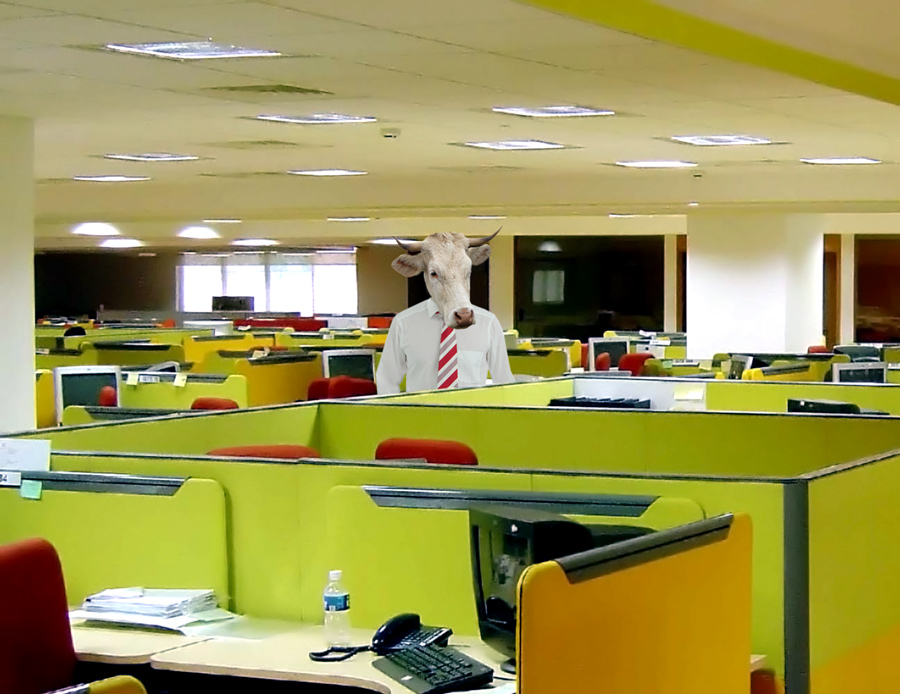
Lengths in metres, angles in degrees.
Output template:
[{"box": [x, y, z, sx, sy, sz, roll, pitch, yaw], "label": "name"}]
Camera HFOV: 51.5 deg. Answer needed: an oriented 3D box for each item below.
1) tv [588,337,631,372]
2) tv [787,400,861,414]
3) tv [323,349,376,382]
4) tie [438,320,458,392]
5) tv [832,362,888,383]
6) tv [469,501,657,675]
[{"box": [1.978, 0.100, 11.725, 0.471, 0.375, 1.178, 1, 4, 8], "label": "tv"}, {"box": [1.850, 0.299, 4.606, 0.206, 0.071, 0.388, 0, 4, -8], "label": "tv"}, {"box": [-0.847, 0.146, 7.945, 0.566, 0.242, 0.381, -2, 5, -34], "label": "tv"}, {"box": [-0.012, 0.055, 5.693, 0.133, 0.368, 0.120, 1, 4, 13], "label": "tie"}, {"box": [2.890, 0.179, 6.609, 0.622, 0.135, 0.202, -3, 6, -42], "label": "tv"}, {"box": [0.230, 0.525, 2.380, 0.435, 0.414, 0.383, -3, 1, -35], "label": "tv"}]
